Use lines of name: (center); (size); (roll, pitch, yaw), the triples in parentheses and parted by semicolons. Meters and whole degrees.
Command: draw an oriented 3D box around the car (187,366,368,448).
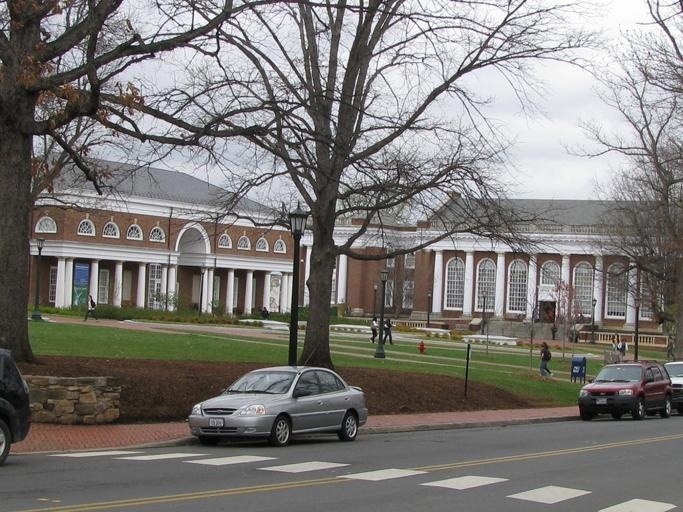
car: (-1.490, 3.552, 19.620); (1.590, 1.826, 4.257); (-6, -9, 43)

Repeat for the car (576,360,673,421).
car: (10.370, 4.787, 29.517); (3.745, 2.093, 1.798); (5, -8, -36)

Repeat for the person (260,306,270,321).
person: (-7.739, 5.558, 81.595); (0.588, 2.027, 0.752); (-1, 13, 14)

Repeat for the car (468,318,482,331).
car: (15.955, 7.944, 97.207); (1.495, 1.000, 1.566); (-1, 0, 8)
